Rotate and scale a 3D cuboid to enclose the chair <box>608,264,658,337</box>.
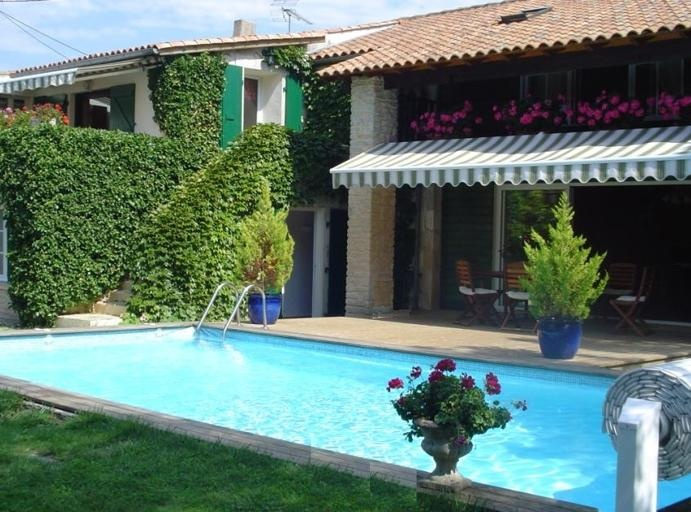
[{"bbox_3d":[6.897,1.001,19.421,0.851,1.617,2.130,3,4,19],"label":"chair"}]

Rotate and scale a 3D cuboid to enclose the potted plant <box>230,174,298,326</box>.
[{"bbox_3d":[-1.968,-0.095,19.807,1.355,3.397,2.073,2,3,-9],"label":"potted plant"}]

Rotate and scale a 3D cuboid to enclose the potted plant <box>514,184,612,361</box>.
[{"bbox_3d":[4.219,0.385,15.804,1.427,3.212,0.851,3,3,12],"label":"potted plant"}]

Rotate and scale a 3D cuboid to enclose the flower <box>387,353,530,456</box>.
[{"bbox_3d":[1.332,1.948,10.351,1.276,1.000,1.405,-13,1,18],"label":"flower"}]

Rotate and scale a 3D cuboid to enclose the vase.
[{"bbox_3d":[1.257,2.440,10.049,0.778,0.802,0.773,-2,-7,21],"label":"vase"}]
